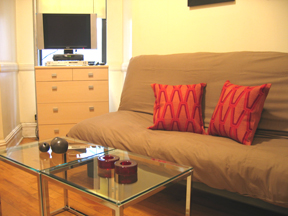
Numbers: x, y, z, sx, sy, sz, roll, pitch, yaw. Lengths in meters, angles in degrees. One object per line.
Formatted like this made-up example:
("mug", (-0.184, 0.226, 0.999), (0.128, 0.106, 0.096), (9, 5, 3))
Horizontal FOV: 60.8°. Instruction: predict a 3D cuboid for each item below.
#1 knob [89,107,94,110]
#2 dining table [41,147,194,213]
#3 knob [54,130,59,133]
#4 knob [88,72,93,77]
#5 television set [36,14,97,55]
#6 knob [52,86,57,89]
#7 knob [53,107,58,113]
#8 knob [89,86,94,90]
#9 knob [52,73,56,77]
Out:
("knob", (-0.735, 0.006, 3.421), (0.050, 0.045, 0.024), (5, 8, 6))
("dining table", (-0.104, 0.236, 1.298), (0.491, 0.317, 0.518), (7, 10, 40))
("knob", (-1.204, 0.322, 3.368), (0.047, 0.033, 0.025), (5, 14, 13))
("knob", (-0.742, -0.465, 3.390), (0.085, 0.080, 0.045), (-1, 4, 2))
("television set", (-1.148, -1.126, 3.628), (0.676, 0.475, 0.172), (0, 7, -5))
("knob", (-1.217, -0.278, 3.329), (0.065, 0.040, 0.015), (-4, 14, -10))
("knob", (-1.209, 0.032, 3.345), (0.080, 0.075, 0.057), (3, 0, -7))
("knob", (-0.728, -0.280, 3.399), (0.072, 0.065, 0.034), (4, 15, 3))
("knob", (-1.221, -0.448, 3.319), (0.064, 0.042, 0.032), (0, 6, 6))
